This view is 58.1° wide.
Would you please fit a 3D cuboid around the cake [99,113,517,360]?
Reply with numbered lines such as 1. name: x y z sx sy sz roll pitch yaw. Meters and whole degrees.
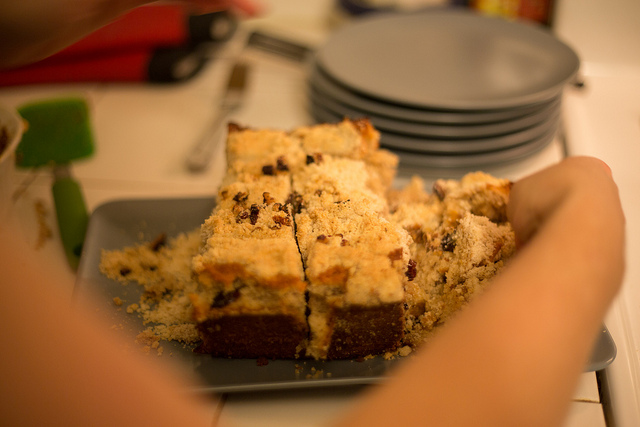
1. cake: -0.012 0.043 0.924 0.504 0.170 0.425 1 45 -1

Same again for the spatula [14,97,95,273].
1. spatula: -0.413 -0.031 0.967 0.078 0.297 0.108 -16 31 -25
